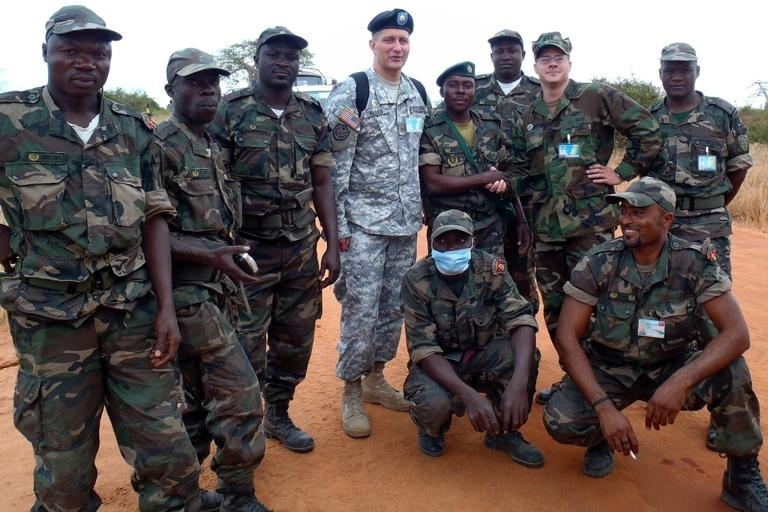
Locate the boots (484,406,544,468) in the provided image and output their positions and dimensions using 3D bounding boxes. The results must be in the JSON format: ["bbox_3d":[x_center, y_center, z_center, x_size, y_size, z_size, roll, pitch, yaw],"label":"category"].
[{"bbox_3d":[1.032,1.450,4.692,0.210,0.217,0.553,-21,23,-37],"label":"boots"}]

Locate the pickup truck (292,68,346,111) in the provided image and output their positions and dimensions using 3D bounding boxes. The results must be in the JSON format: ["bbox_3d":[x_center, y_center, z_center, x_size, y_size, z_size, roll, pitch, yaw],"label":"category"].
[{"bbox_3d":[-1.768,-5.204,17.635,1.183,1.548,1.010,2,-23,-20],"label":"pickup truck"}]

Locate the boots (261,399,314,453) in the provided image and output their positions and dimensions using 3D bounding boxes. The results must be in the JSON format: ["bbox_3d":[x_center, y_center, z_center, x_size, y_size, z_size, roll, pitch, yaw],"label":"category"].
[{"bbox_3d":[-0.792,1.361,4.917,0.581,0.329,0.199,8,12,41],"label":"boots"}]

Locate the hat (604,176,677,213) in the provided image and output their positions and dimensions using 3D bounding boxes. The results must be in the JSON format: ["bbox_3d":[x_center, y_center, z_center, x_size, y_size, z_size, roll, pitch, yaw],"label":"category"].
[{"bbox_3d":[1.888,-0.463,4.300,0.450,0.191,0.262,16,6,-14],"label":"hat"}]

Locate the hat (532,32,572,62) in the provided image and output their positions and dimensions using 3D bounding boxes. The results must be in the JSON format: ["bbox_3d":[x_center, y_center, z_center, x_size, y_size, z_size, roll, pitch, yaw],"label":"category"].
[{"bbox_3d":[1.458,-1.834,5.212,0.314,0.199,0.182,1,14,9],"label":"hat"}]

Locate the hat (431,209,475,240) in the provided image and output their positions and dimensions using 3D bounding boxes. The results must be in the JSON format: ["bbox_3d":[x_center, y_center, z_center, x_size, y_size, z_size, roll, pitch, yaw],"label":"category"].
[{"bbox_3d":[0.536,-0.248,4.669,0.294,0.211,0.237,1,14,10],"label":"hat"}]

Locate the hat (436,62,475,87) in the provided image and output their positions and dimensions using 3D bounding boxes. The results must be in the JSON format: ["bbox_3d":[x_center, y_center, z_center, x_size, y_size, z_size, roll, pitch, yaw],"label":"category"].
[{"bbox_3d":[0.615,-1.575,5.130,0.309,0.182,0.434,0,12,5],"label":"hat"}]

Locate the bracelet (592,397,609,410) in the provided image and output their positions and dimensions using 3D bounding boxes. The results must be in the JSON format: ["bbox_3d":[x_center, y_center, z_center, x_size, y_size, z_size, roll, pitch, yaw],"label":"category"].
[{"bbox_3d":[1.532,1.028,4.218,0.104,0.024,0.102,-15,-12,-42],"label":"bracelet"}]

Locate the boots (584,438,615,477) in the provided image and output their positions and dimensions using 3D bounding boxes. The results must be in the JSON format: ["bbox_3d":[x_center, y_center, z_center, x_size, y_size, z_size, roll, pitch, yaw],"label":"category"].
[{"bbox_3d":[1.618,1.533,4.605,0.146,0.219,0.376,-2,-1,26],"label":"boots"}]

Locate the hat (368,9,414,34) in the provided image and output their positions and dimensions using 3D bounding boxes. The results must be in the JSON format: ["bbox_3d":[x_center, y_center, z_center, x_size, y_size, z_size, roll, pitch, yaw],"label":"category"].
[{"bbox_3d":[0.044,-1.932,4.932,0.356,0.184,0.209,-1,13,1],"label":"hat"}]

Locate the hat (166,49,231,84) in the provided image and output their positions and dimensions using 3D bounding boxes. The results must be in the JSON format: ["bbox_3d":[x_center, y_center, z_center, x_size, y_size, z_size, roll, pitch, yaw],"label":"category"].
[{"bbox_3d":[-1.277,-1.279,3.968,0.421,0.176,0.296,0,12,25],"label":"hat"}]

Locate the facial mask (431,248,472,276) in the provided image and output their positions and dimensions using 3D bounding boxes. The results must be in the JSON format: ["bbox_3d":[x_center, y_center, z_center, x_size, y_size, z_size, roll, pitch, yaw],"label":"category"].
[{"bbox_3d":[0.527,0.037,4.617,0.262,0.115,0.240,-1,22,5],"label":"facial mask"}]
